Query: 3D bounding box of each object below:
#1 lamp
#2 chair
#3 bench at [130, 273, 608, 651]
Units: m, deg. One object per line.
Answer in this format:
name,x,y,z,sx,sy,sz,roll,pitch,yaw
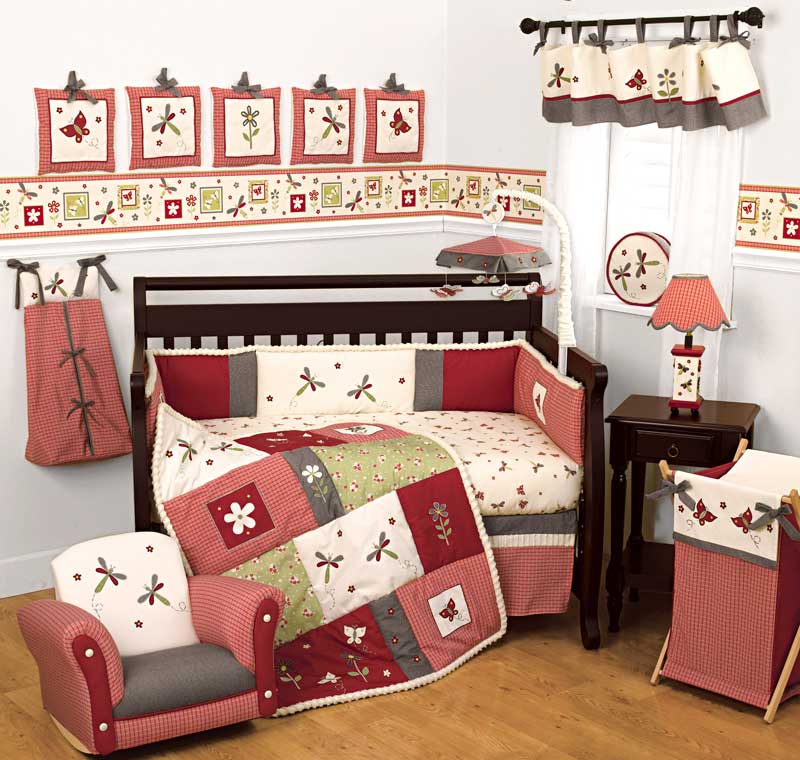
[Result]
lamp,0.995,-0.128,2.683,0.235,0.452,0.341,4,9,27
chair,-0.634,0.667,2.010,0.544,0.464,0.421,-6,10,-38
bench,-0.131,0.209,2.984,1.645,1.212,1.452,-2,8,-16
